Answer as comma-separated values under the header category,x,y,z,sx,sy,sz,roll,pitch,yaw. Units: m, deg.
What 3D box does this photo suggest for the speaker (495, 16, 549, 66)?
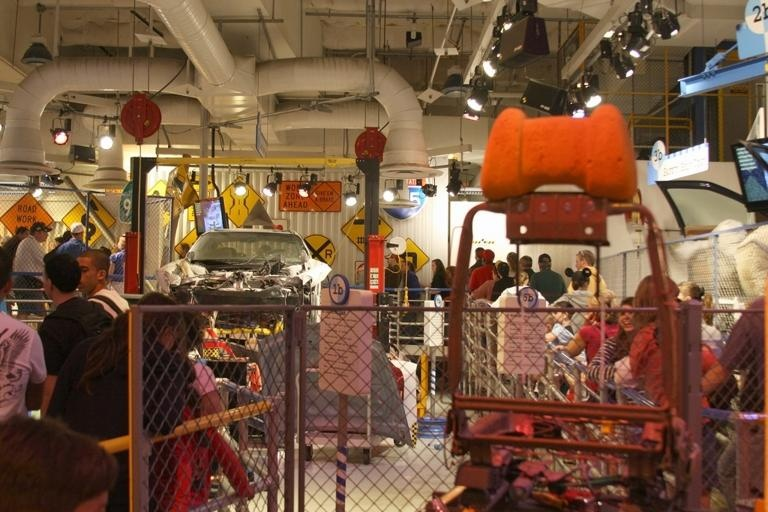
category,x,y,z,sx,sy,sz,roll,pitch,yaw
speaker,2.081,-3.399,11.642,0.555,0.824,1.065,-5,7,-20

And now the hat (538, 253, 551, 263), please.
category,x,y,z,sx,sy,sz,roll,pitch,yaw
hat,2.671,0.064,12.902,0.176,0.151,0.262,0,7,-2

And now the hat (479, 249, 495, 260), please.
category,x,y,z,sx,sy,sz,roll,pitch,yaw
hat,1.949,-0.033,14.938,0.151,0.206,0.197,3,0,-16

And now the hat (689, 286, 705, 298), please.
category,x,y,z,sx,sy,sz,roll,pitch,yaw
hat,3.980,0.464,9.908,0.171,0.111,0.230,1,9,-8

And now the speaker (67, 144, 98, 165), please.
category,x,y,z,sx,sy,sz,roll,pitch,yaw
speaker,-7.669,-2.581,19.547,0.564,0.467,0.798,5,0,40

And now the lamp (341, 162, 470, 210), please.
category,x,y,z,sx,sy,sz,roll,pitch,yaw
lamp,0.918,-1.912,20.186,2.577,1.209,1.356,1,-3,5
